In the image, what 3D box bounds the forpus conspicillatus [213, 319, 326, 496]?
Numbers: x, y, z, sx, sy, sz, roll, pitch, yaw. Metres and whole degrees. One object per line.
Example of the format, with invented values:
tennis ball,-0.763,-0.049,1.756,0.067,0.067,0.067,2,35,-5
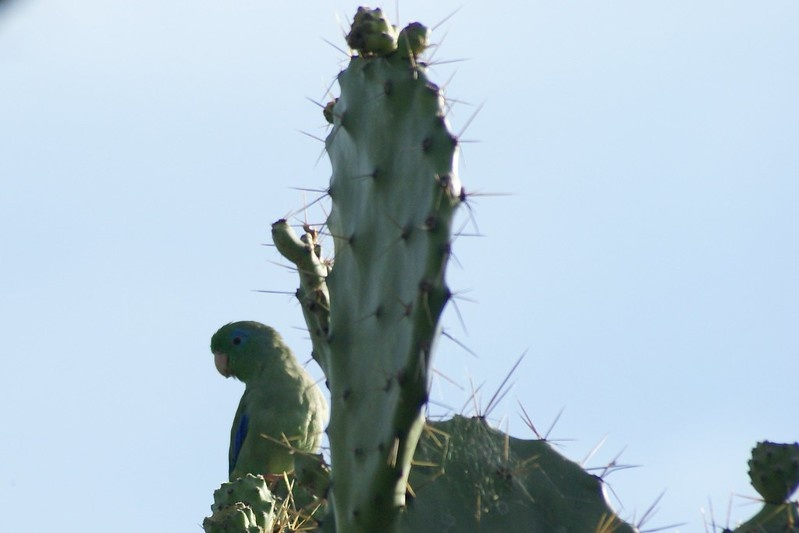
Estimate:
forpus conspicillatus,-0.517,0.581,6.183,0.410,0.737,0.392,-10,-31,11
